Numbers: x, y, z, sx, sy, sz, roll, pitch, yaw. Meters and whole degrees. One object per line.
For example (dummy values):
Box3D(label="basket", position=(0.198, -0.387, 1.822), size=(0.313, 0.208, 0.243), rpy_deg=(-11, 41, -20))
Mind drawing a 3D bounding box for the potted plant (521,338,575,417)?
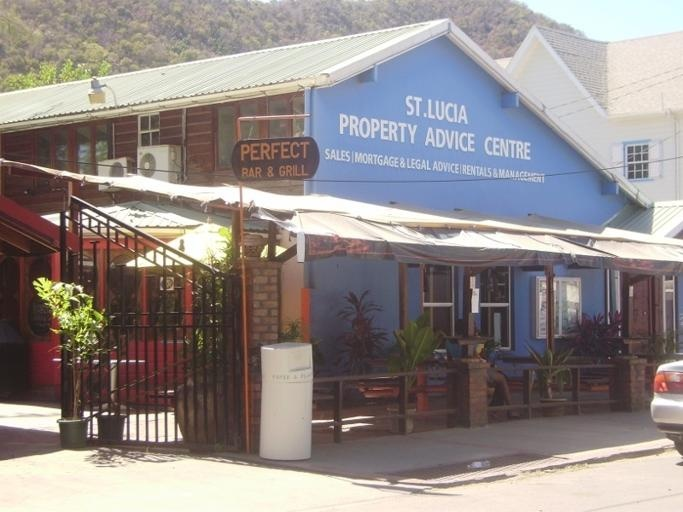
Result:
Box3D(label="potted plant", position=(4.515, 2.657, 22.360), size=(1.095, 1.383, 0.981), rpy_deg=(0, -2, -6))

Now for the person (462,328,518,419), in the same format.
Box3D(label="person", position=(2.882, 2.328, 20.420), size=(0.775, 1.481, 0.682), rpy_deg=(-9, 8, -11))
